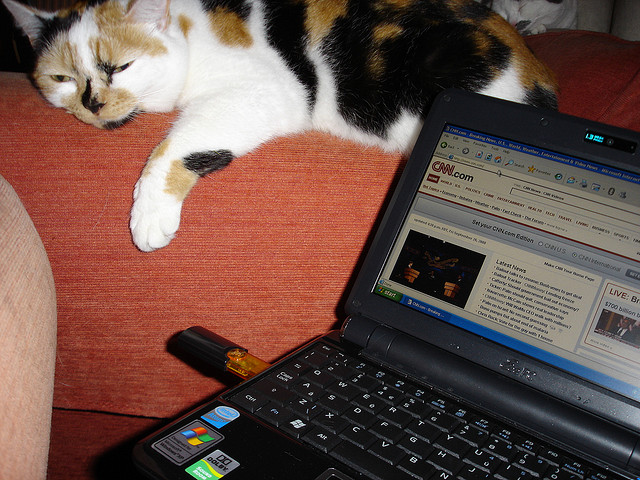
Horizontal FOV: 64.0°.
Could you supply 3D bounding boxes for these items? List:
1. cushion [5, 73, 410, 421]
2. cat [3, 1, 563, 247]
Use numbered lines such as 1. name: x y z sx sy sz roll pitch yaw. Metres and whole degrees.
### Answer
1. cushion: -0.228 -0.118 1.131 0.992 0.454 0.683 -10 24 -26
2. cat: -0.043 -0.252 1.235 1.034 0.234 0.539 -2 50 -3
